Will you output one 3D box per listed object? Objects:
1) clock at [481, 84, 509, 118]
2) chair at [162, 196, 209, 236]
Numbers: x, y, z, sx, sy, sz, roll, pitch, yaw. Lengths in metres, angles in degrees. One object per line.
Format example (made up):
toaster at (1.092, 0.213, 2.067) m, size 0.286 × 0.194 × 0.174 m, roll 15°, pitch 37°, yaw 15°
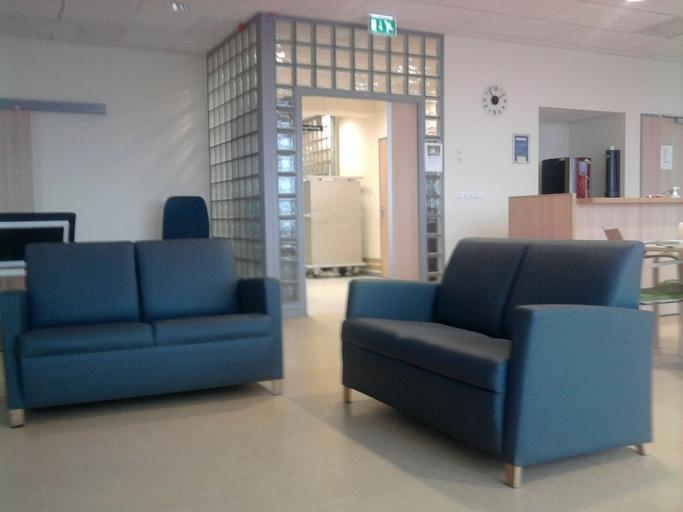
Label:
clock at (2.098, -2.144, 7.153) m, size 0.473 × 0.485 × 0.078 m, roll -3°, pitch 1°, yaw -24°
chair at (-2.018, -0.485, 6.795) m, size 0.482 × 0.701 × 0.568 m, roll 0°, pitch -1°, yaw -12°
